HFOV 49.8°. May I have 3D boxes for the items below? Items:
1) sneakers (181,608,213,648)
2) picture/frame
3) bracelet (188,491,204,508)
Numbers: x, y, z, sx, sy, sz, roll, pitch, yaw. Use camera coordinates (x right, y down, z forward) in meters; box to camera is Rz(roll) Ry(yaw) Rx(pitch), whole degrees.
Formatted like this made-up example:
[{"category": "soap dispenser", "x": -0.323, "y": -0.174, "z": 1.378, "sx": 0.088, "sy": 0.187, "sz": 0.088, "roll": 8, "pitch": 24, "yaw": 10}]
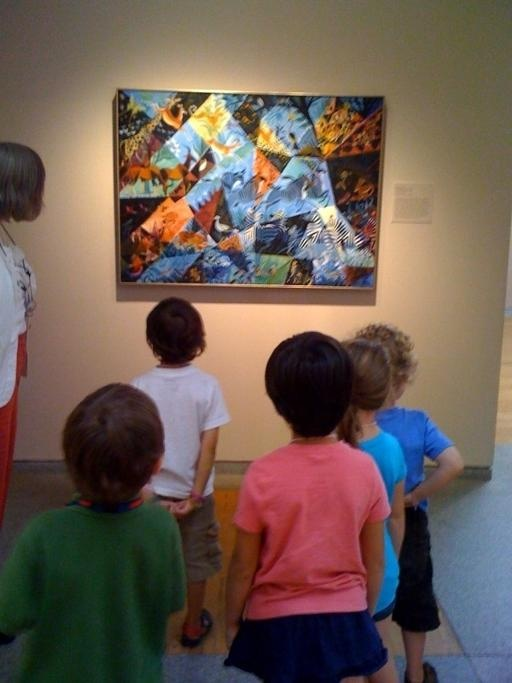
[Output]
[{"category": "sneakers", "x": -0.211, "y": 1.033, "z": 1.984, "sx": 0.051, "sy": 0.067, "sz": 0.160, "roll": 4, "pitch": -2, "yaw": 5}, {"category": "picture/frame", "x": -0.055, "y": -0.907, "z": 3.113, "sx": 1.048, "sy": 0.813, "sz": 0.013, "roll": 0, "pitch": 9, "yaw": 0}, {"category": "bracelet", "x": -0.196, "y": 0.529, "z": 1.832, "sx": 0.036, "sy": 0.048, "sz": 0.048, "roll": -1, "pitch": 20, "yaw": 2}]
